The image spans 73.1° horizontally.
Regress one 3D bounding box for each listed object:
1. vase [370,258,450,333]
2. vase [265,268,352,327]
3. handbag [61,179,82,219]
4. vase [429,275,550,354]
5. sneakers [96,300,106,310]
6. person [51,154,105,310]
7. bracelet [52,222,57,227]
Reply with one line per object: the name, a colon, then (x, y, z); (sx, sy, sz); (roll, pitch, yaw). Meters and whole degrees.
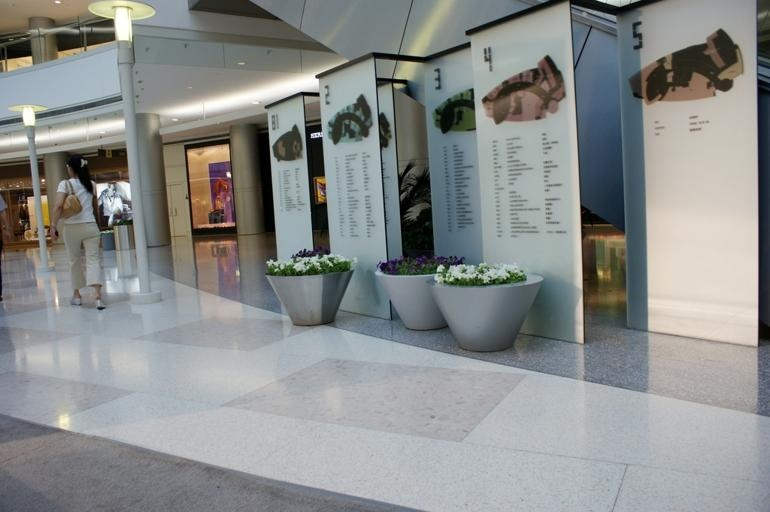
vase: (0.460, 0.485, 6.003); (0.794, 0.544, 0.765); (-3, -4, -26)
vase: (-0.934, 0.529, 6.469); (1.163, 0.581, 0.865); (-3, -1, -30)
handbag: (-4.656, -0.841, 7.670); (0.505, 0.563, 0.207); (-13, -4, 33)
vase: (0.978, 0.556, 5.153); (0.856, 0.457, 0.826); (-2, -1, -8)
sneakers: (-4.333, 0.733, 7.897); (0.142, 0.150, 0.235); (-10, 12, -28)
person: (-4.683, -0.339, 7.865); (0.626, 2.314, 0.698); (-7, 11, -16)
bracelet: (-4.885, -0.454, 7.651); (0.070, 0.049, 0.066); (-2, 5, -33)
